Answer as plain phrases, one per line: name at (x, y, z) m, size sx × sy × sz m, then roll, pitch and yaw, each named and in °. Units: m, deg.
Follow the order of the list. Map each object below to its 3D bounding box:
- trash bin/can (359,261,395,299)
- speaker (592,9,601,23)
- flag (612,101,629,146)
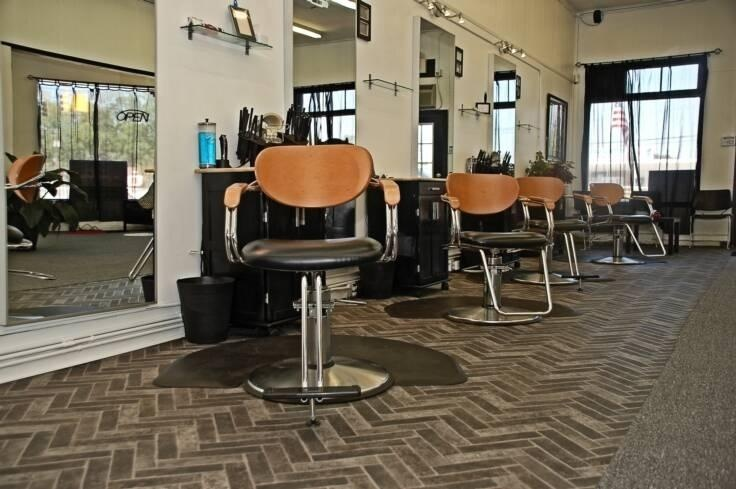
trash bin/can at (0.089, 0.356, 5.207) m, size 0.394 × 0.284 × 0.396 m, roll 0°, pitch -2°, yaw -1°
speaker at (4.772, -4.772, 10.746) m, size 0.172 × 0.267 × 0.112 m, roll 4°, pitch 12°, yaw 22°
flag at (5.126, -2.513, 10.499) m, size 0.110 × 0.798 × 0.368 m, roll -9°, pitch 14°, yaw -37°
